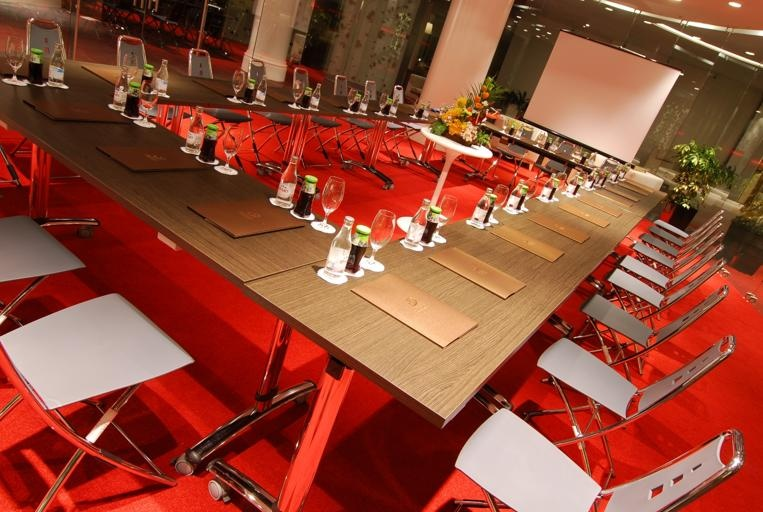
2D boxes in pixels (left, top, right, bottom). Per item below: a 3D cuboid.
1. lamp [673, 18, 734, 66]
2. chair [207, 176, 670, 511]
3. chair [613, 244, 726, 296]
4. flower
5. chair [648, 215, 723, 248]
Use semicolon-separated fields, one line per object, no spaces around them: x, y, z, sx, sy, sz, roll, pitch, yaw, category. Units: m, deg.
7.065;-4.704;10.310;1.927;0.540;0.238;34;32;33;lamp
0.364;0.595;2.931;0.845;0.559;2.421;27;36;24;chair
3.105;0.144;5.182;0.490;0.670;0.434;44;27;9;chair
0.968;-1.626;5.305;0.485;0.743;0.649;30;30;25;flower
4.513;-0.378;7.061;0.514;0.660;0.464;36;34;13;chair
